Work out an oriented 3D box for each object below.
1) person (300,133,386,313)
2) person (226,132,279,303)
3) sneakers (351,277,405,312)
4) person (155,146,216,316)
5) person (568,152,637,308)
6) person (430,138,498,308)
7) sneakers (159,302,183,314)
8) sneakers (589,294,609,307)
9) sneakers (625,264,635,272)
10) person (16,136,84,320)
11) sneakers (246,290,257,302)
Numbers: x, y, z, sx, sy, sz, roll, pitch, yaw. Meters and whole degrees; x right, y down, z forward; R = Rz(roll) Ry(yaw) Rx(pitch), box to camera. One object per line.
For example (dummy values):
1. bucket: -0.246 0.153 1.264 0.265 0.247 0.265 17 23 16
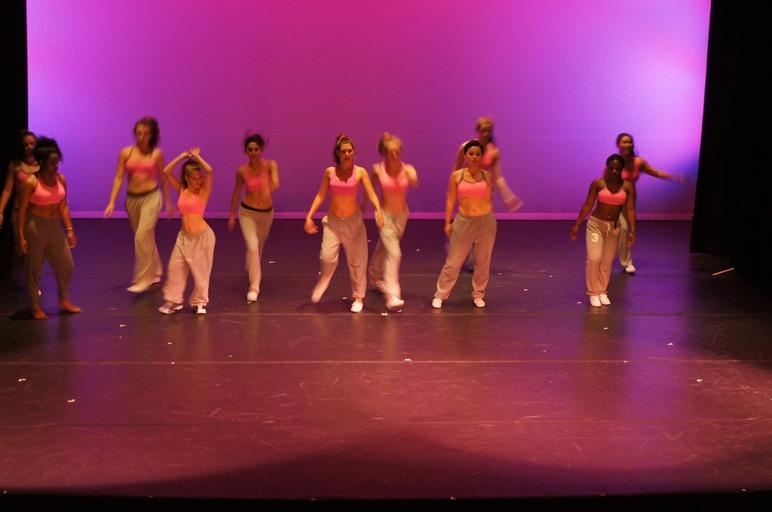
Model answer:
1. person: -0.483 -0.415 7.317 0.774 1.795 1.589 2 8 -7
2. person: -1.448 -0.428 7.222 0.457 1.766 0.632 -1 8 -23
3. sneakers: -0.061 0.439 6.799 0.209 0.312 0.661 5 -16 -36
4. person: -1.998 -0.238 6.622 0.512 1.659 0.258 0 8 -18
5. person: 2.324 -0.285 7.024 0.618 1.646 0.468 6 14 16
6. person: 0.836 -0.315 6.895 0.603 1.751 0.849 3 8 7
7. sneakers: -2.189 0.527 6.707 0.224 0.134 0.095 -7 16 -18
8. sneakers: 2.283 0.483 7.004 0.107 0.078 0.184 -5 9 0
9. sneakers: 3.069 0.153 8.294 0.070 0.060 0.158 7 4 -2
10. person: -3.284 -0.267 6.428 0.529 1.718 0.313 -3 9 -35
11. sneakers: -1.435 0.430 7.098 0.114 0.112 0.165 1 9 -13
